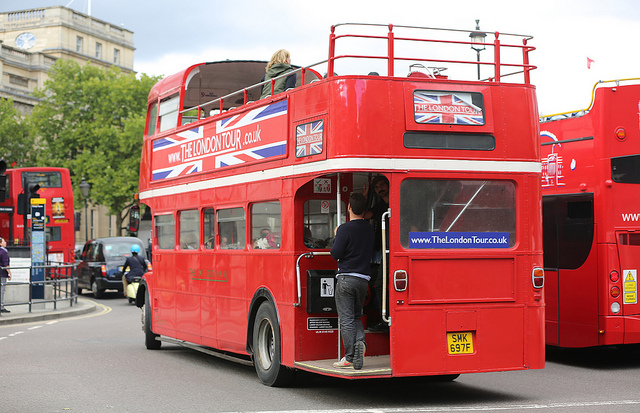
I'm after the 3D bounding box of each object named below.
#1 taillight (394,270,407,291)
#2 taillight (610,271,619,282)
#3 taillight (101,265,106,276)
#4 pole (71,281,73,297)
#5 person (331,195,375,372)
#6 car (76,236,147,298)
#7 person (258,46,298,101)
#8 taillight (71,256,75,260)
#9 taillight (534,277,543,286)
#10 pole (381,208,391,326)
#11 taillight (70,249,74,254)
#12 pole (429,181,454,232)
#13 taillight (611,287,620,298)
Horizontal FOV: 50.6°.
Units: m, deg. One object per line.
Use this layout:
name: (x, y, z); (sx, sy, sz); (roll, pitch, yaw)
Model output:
taillight: (1.189, 1.098, 10.012); (0.296, 0.390, 0.103); (3, -10, -12)
taillight: (5.630, 1.322, 12.867); (0.182, 0.189, 0.010); (0, -6, -8)
taillight: (-9.202, 2.692, 28.644); (0.201, 0.448, 0.103); (-1, -6, -1)
pole: (-9.233, 3.026, 25.063); (0.049, 0.530, 0.448); (1, -7, -21)
person: (0.523, 1.113, 10.279); (0.546, 2.609, 0.536); (-4, -7, 24)
car: (-9.152, 2.628, 29.152); (2.571, 1.911, 4.387); (1, 1, -22)
person: (-0.769, -2.312, 12.400); (0.697, 1.253, 0.486); (-5, -17, 38)
taillight: (-12.541, 2.599, 34.161); (0.238, 0.228, 0.071); (-2, -3, -1)
taillight: (3.381, 1.155, 10.413); (0.170, 0.120, 0.093); (2, -5, -16)
pole: (0.993, 0.881, 10.012); (0.151, 1.725, 0.349); (-1, -6, 0)
taillight: (-12.758, 2.295, 34.633); (0.228, 0.218, 0.053); (0, -5, -13)
pole: (1.777, -0.010, 10.241); (0.151, 0.571, 0.630); (7, -17, 7)
taillight: (5.622, 1.614, 12.782); (0.132, 0.170, 0.062); (1, -3, 0)
